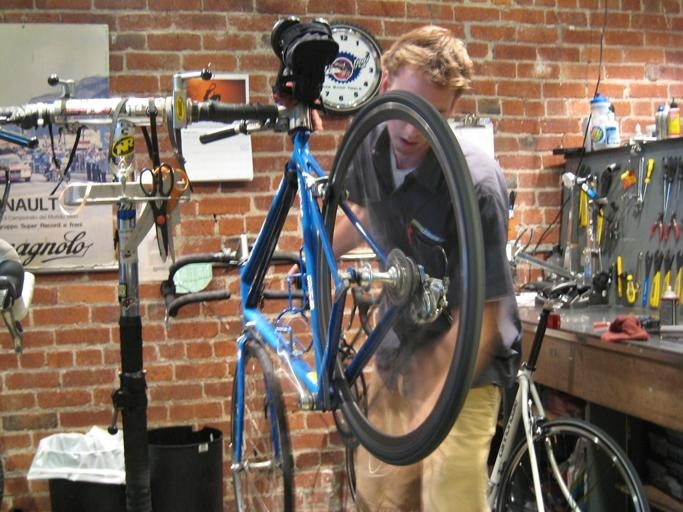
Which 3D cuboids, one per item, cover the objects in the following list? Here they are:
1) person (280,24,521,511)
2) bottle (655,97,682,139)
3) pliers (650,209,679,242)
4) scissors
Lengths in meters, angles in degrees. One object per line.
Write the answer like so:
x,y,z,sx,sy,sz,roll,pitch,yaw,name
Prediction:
0.333,0.093,3.916,0.581,2.060,0.748,1,5,33,person
1.727,-0.728,5.157,0.127,0.201,0.215,1,5,25,bottle
1.689,-0.158,5.079,0.029,0.141,0.113,7,-2,-30,pliers
-0.766,-0.196,4.266,0.168,0.448,0.065,1,4,-3,scissors
